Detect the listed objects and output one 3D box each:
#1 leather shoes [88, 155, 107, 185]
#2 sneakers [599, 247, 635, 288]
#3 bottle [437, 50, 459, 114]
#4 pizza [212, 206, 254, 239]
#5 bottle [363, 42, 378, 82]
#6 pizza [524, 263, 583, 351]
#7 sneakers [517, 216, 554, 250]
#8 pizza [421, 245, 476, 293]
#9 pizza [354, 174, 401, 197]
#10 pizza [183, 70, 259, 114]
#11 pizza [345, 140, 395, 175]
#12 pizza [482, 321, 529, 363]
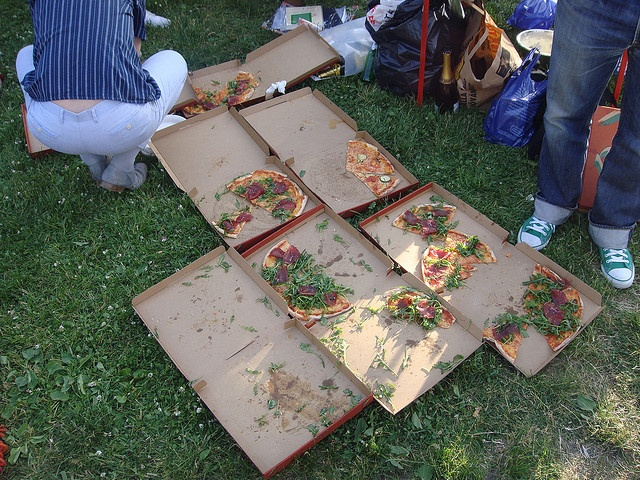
[{"bbox_3d":[-1.632,-0.532,3.733,0.086,0.169,0.124,34,54,30],"label":"leather shoes"},{"bbox_3d":[2.036,0.137,3.544,0.125,0.136,0.381,-14,50,10],"label":"sneakers"},{"bbox_3d":[1.082,-1.357,4.336,0.166,0.411,0.311,-9,57,-4],"label":"bottle"},{"bbox_3d":[-0.604,-0.141,3.565,0.177,0.049,0.247,37,67,21],"label":"pizza"},{"bbox_3d":[0.460,-1.692,4.668,0.118,0.287,0.317,6,58,6],"label":"bottle"},{"bbox_3d":[1.476,0.409,3.259,0.414,0.058,0.456,-34,65,-17],"label":"pizza"},{"bbox_3d":[1.538,-0.059,3.616,0.157,0.149,0.379,38,41,5],"label":"sneakers"},{"bbox_3d":[0.823,0.194,3.397,0.339,0.029,0.330,36,66,20],"label":"pizza"},{"bbox_3d":[0.434,-0.468,3.814,0.224,0.025,0.301,-35,65,-18],"label":"pizza"},{"bbox_3d":[-0.832,-1.293,4.456,0.378,0.096,0.515,28,59,37],"label":"pizza"},{"bbox_3d":[0.388,-0.645,3.936,0.369,0.026,0.324,2,60,2],"label":"pizza"},{"bbox_3d":[1.148,0.585,3.176,0.238,0.062,0.266,26,63,16],"label":"pizza"}]
